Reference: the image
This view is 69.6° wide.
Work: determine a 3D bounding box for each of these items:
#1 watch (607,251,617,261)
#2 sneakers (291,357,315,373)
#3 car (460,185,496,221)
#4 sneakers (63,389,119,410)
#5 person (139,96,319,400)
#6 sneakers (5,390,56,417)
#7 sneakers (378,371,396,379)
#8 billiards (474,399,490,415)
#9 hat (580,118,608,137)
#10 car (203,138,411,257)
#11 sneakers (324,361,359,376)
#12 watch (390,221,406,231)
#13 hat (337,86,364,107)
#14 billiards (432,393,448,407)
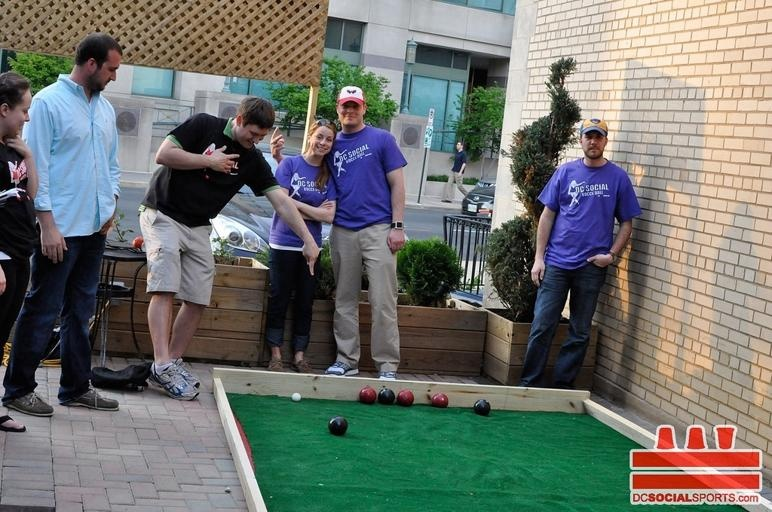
[{"bbox_3d":[2.323,0.016,5.647,0.105,0.096,0.104,-1,10,8],"label":"watch"},{"bbox_3d":[-0.875,1.160,5.824,0.273,0.109,0.103,3,-1,44],"label":"sneakers"},{"bbox_3d":[3.296,-1.872,19.341,0.992,0.761,2.175,7,22,23],"label":"car"},{"bbox_3d":[-2.347,1.168,4.509,0.479,0.187,0.166,3,-4,-4],"label":"sneakers"},{"bbox_3d":[-1.556,-0.083,4.931,1.217,2.649,0.560,2,7,-21],"label":"person"},{"bbox_3d":[-2.660,1.129,4.214,0.383,0.149,0.157,8,0,-1],"label":"sneakers"},{"bbox_3d":[0.036,1.198,5.565,0.076,0.056,0.136,2,-8,-15],"label":"sneakers"},{"bbox_3d":[0.868,1.363,5.011,0.133,0.131,0.129,-7,19,22],"label":"billiards"},{"bbox_3d":[2.135,-1.298,5.614,0.242,0.184,0.183,6,7,7],"label":"hat"},{"bbox_3d":[-0.811,-0.558,5.644,1.653,1.345,2.893,1,-1,-23],"label":"car"},{"bbox_3d":[-0.454,1.172,5.736,0.329,0.140,0.129,8,-5,-32],"label":"sneakers"},{"bbox_3d":[0.126,-0.305,5.657,0.100,0.070,0.095,0,-6,-1],"label":"watch"},{"bbox_3d":[-0.345,-1.647,5.707,0.247,0.257,0.485,5,7,-2],"label":"hat"},{"bbox_3d":[0.490,1.317,5.039,0.124,0.093,0.122,-8,54,-19],"label":"billiards"}]
